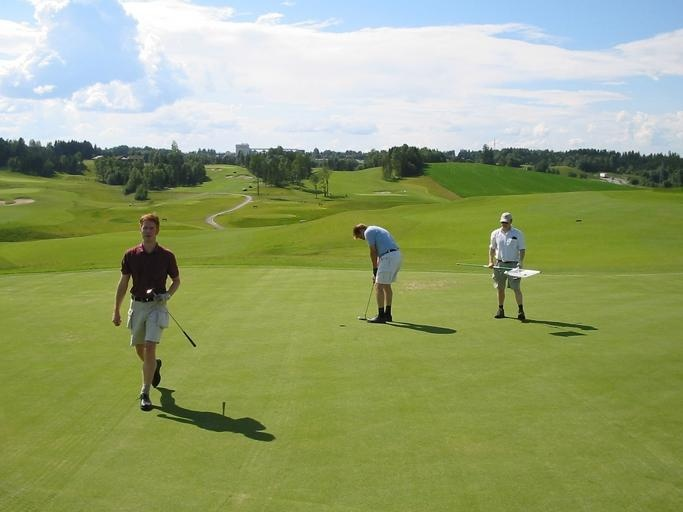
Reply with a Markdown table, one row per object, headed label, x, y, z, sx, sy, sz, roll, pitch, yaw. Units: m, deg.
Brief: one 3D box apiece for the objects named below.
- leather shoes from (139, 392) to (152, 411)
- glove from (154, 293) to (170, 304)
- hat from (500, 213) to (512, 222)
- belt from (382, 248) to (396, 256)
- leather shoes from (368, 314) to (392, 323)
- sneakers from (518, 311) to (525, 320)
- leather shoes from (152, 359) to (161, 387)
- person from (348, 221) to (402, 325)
| label | x | y | z | sx | sy | sz | roll | pitch | yaw |
| --- | --- | --- | --- | --- | --- | --- | --- | --- | --- |
| leather shoes | -2.783 | 2.059 | 8.097 | 0.154 | 0.167 | 0.302 | -6 | 14 | -18 |
| glove | -2.716 | 0.654 | 8.737 | 0.170 | 0.175 | 0.231 | 7 | 16 | 30 |
| hat | 3.702 | -0.865 | 12.797 | 0.198 | 0.256 | 0.638 | 3 | 14 | 18 |
| belt | 1.036 | -0.094 | 12.454 | 0.180 | 0.060 | 0.164 | -26 | -7 | 12 |
| leather shoes | 0.854 | 1.306 | 12.117 | 0.557 | 0.223 | 0.187 | 1 | -5 | -4 |
| sneakers | 3.880 | 1.291 | 12.229 | 0.156 | 0.152 | 0.141 | -2 | -4 | -5 |
| leather shoes | -2.854 | 1.831 | 8.869 | 0.132 | 0.354 | 0.156 | 3 | 0 | 1 |
| person | 0.825 | 0.385 | 12.522 | 0.996 | 1.999 | 1.411 | -2 | 14 | -2 |
